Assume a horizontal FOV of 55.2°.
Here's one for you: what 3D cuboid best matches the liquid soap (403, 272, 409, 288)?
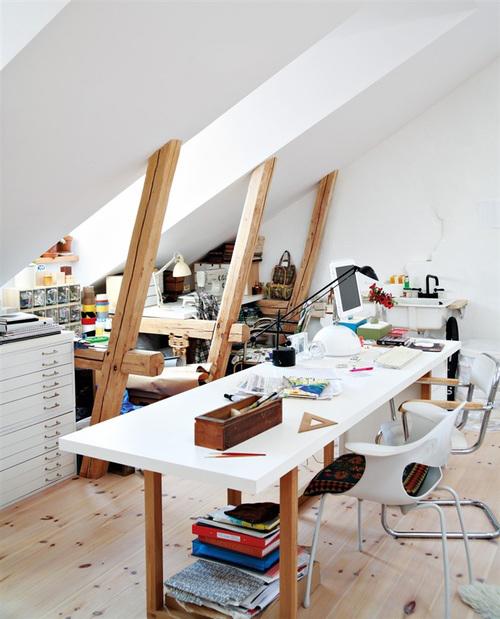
[{"bbox_3d":[1.612,-0.279,4.947,0.060,0.140,0.122,3,8,17],"label":"liquid soap"}]

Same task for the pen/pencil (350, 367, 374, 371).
[{"bbox_3d":[0.530,0.285,2.263,0.079,0.015,0.016,-2,14,-18],"label":"pen/pencil"}]

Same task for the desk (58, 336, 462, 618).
[{"bbox_3d":[0.060,0.554,1.794,0.716,0.521,1.306,5,8,32],"label":"desk"}]

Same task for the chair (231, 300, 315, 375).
[{"bbox_3d":[0.287,0.245,5.121,0.778,0.946,0.772,1,10,14],"label":"chair"}]

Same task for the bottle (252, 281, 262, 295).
[{"bbox_3d":[0.098,-0.264,5.870,0.146,0.208,0.158,4,1,0],"label":"bottle"}]

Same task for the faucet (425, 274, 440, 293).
[{"bbox_3d":[1.876,-0.259,4.938,0.203,0.186,0.087,-9,8,-37],"label":"faucet"}]

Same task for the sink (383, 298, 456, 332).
[{"bbox_3d":[1.622,0.057,4.636,0.561,0.323,0.294,3,8,14],"label":"sink"}]

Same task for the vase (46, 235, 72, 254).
[{"bbox_3d":[-1.626,-0.564,4.120,0.168,0.168,0.387,-1,7,-12],"label":"vase"}]
